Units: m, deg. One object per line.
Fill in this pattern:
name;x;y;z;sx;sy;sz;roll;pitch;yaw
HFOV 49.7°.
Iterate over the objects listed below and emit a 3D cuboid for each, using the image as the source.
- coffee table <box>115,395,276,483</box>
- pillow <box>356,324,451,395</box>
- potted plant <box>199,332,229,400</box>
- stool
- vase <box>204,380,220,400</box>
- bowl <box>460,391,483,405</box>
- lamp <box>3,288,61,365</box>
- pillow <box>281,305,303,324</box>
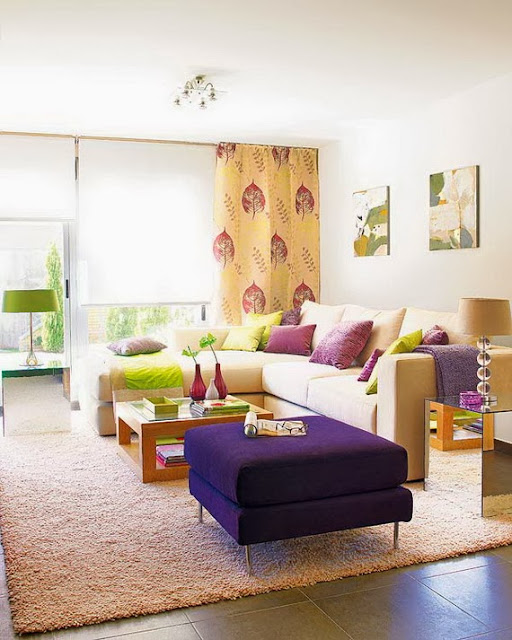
coffee table;-0.575;0.677;3.323;0.598;0.276;0.599;-3;6;-21
pillow;0.919;0.241;3.401;0.629;0.407;0.661;0;-1;-12
potted plant;-0.272;0.302;3.450;0.161;0.431;0.157;-5;-14;0
stool;0.149;0.577;2.042;0.514;0.312;0.573;0;1;-22
vase;-0.276;0.442;3.448;0.100;0.156;0.103;3;-4;-8
bowl;1.073;0.388;2.749;0.067;0.039;0.067;0;-1;0
lamp;-1.876;0.065;4.707;0.420;0.625;0.621;0;-1;-7
pillow;0.354;-0.033;5.414;0.052;0.168;0.168;31;-13;-31
